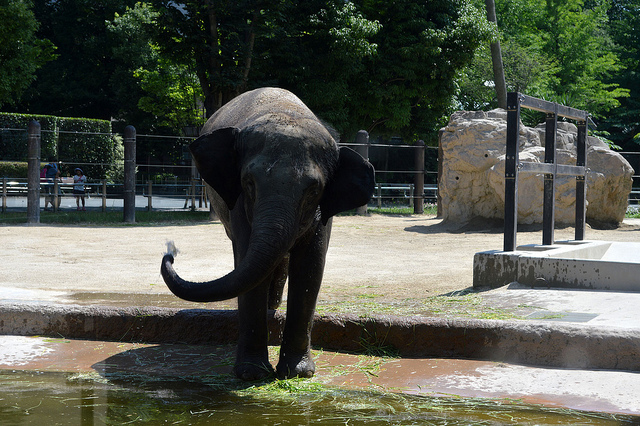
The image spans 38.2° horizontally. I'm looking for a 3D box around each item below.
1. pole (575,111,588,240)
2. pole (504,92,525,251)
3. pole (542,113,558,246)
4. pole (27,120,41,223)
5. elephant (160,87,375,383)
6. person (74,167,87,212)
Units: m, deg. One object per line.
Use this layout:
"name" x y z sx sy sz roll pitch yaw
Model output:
"pole" 5.537 -0.860 19.740 0.258 2.788 0.251 2 -13 10
"pole" 3.699 -0.805 17.830 0.259 3.056 0.401 1 2 14
"pole" 4.644 -0.703 18.768 0.230 2.697 0.740 1 2 14
"pole" -7.714 -1.113 24.953 0.315 2.743 0.331 0 2 -18
"elephant" -0.736 0.380 15.048 2.839 4.830 1.303 0 2 -6
"person" -7.712 -0.778 29.737 0.335 1.285 1.703 0 2 -14
